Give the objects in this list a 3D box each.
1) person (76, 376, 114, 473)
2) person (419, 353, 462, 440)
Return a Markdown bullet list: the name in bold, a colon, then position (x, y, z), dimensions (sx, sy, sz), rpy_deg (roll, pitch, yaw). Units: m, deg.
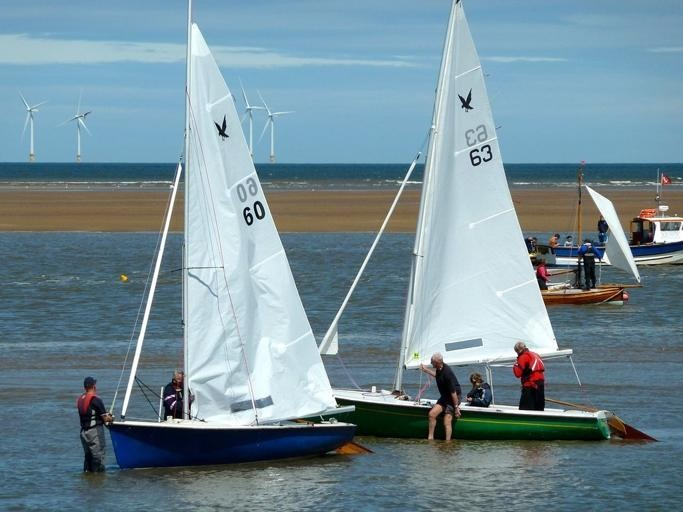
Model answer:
- **person**: position (-7.252, 5.012, 42.598), dimensions (1.063, 2.822, 1.205), rpy_deg (6, 5, 43)
- **person**: position (3.180, 4.400, 45.032), dimensions (1.186, 2.700, 1.214), rpy_deg (2, 9, 43)
